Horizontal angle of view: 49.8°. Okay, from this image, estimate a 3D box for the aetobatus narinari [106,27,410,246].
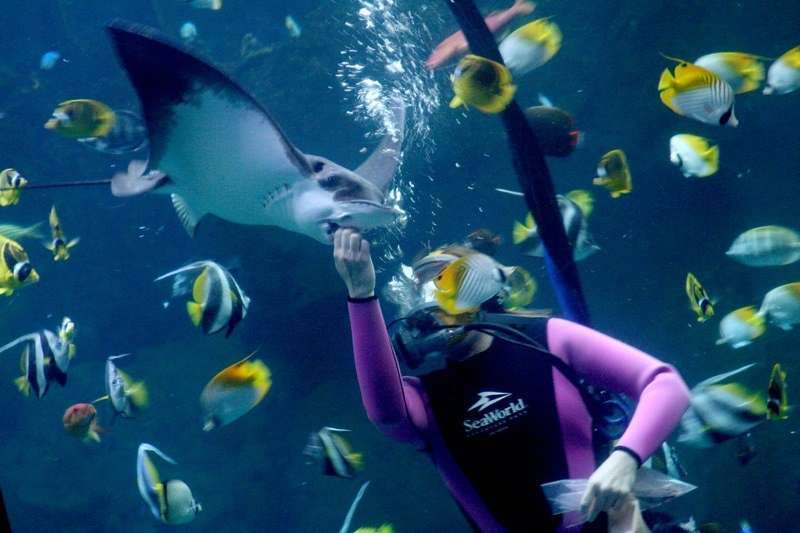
[{"bbox_3d":[-1.705,-1.198,8.810,2.376,0.829,2.269,3,-17,26],"label":"aetobatus narinari"}]
